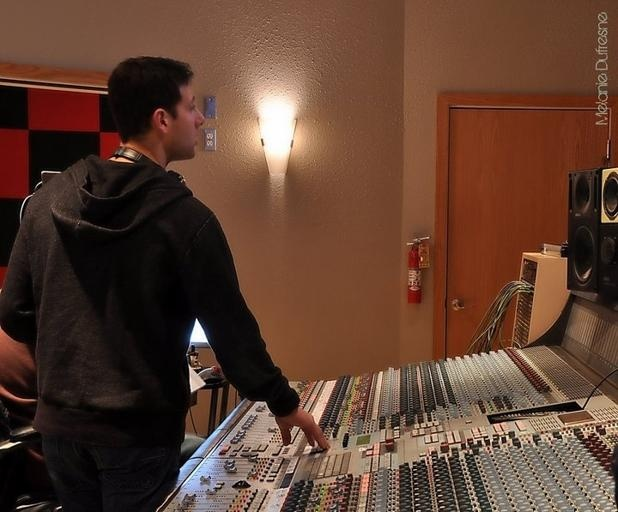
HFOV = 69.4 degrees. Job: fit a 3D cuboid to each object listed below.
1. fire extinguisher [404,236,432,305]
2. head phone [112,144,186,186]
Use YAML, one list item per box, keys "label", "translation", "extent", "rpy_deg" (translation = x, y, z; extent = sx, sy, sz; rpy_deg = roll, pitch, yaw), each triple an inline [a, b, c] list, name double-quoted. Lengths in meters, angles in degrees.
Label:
- label: "fire extinguisher"
  translation: [0.765, 0.084, 3.164]
  extent: [0.151, 0.488, 0.133]
  rpy_deg: [3, 6, 31]
- label: "head phone"
  translation: [-0.405, -0.249, 1.126]
  extent: [0.113, 0.045, 0.122]
  rpy_deg: [25, 29, -4]
